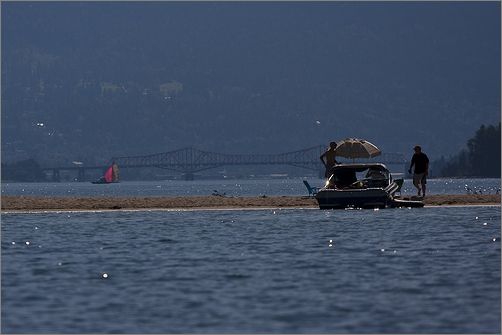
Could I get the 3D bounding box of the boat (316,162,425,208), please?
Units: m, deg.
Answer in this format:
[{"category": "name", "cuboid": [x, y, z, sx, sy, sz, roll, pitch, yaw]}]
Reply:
[{"category": "boat", "cuboid": [5.040, 0.857, 46.844, 4.436, 2.113, 2.432, 1, -4, -2]}]
